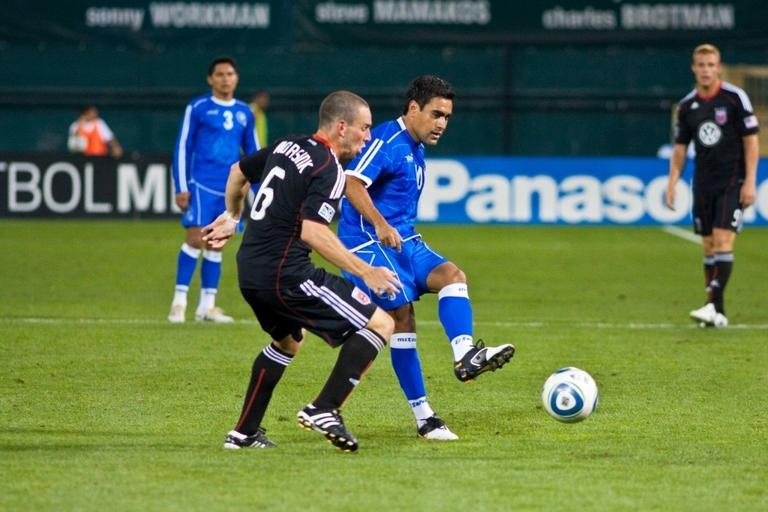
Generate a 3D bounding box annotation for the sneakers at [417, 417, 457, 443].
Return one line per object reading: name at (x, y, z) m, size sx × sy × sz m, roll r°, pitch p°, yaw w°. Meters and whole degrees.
sneakers at (0.436, 1.465, 10.225) m, size 0.340 × 0.132 × 0.163 m, roll 3°, pitch 5°, yaw 25°

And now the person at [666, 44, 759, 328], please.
person at (3.663, -0.875, 13.472) m, size 0.966 × 2.896 × 0.700 m, roll 8°, pitch 15°, yaw 33°

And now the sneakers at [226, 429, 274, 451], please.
sneakers at (-1.129, 1.519, 10.027) m, size 0.423 × 0.165 × 0.156 m, roll 1°, pitch -1°, yaw -13°

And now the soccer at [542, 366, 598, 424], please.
soccer at (1.546, 1.166, 10.276) m, size 0.470 × 0.429 × 0.450 m, roll 0°, pitch -2°, yaw -30°

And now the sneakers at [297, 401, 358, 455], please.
sneakers at (-0.447, 1.365, 9.850) m, size 0.581 × 0.258 × 0.211 m, roll 24°, pitch -14°, yaw 17°

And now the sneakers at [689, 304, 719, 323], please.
sneakers at (3.528, 0.633, 13.289) m, size 0.177 × 0.123 × 0.289 m, roll -1°, pitch -6°, yaw -21°

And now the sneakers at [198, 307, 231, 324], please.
sneakers at (-1.881, 0.659, 13.362) m, size 0.447 × 0.165 × 0.154 m, roll 0°, pitch -2°, yaw 4°

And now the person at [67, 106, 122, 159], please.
person at (-5.125, -2.173, 21.233) m, size 0.839 × 0.905 × 1.953 m, roll -3°, pitch 12°, yaw -14°
